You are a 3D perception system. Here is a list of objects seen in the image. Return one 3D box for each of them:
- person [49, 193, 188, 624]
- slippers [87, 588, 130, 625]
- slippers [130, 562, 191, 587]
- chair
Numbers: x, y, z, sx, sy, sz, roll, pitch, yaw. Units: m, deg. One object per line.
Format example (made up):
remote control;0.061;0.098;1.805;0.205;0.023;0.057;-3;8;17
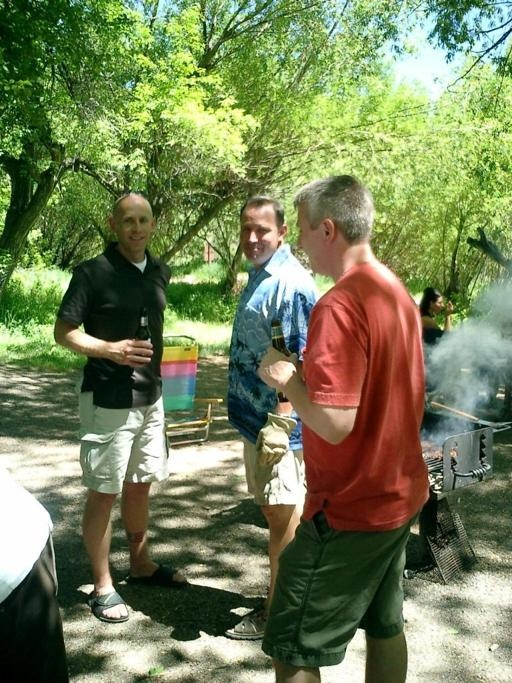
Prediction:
person;-0.628;0.271;2.972;0.506;2.026;0.570;8;8;24
slippers;-0.704;1.246;2.880;0.099;0.075;0.209;2;-3;-35
slippers;-0.508;1.231;3.241;0.322;0.081;0.109;1;7;10
chair;-0.527;0.467;6.125;0.945;0.998;0.786;0;-6;-17
